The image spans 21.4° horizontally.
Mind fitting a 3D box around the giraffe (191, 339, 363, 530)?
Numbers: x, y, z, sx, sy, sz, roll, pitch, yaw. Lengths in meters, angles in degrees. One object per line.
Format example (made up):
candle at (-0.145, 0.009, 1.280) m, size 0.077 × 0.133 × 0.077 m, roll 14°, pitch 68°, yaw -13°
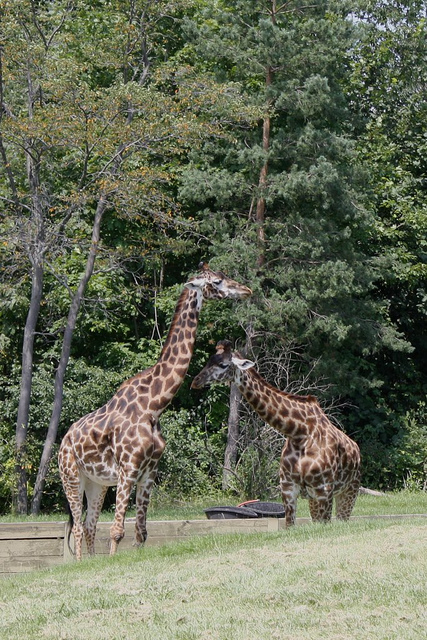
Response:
giraffe at (0.946, 1.613, 13.168) m, size 0.719 × 2.066 × 3.182 m, roll -9°, pitch -21°, yaw 40°
